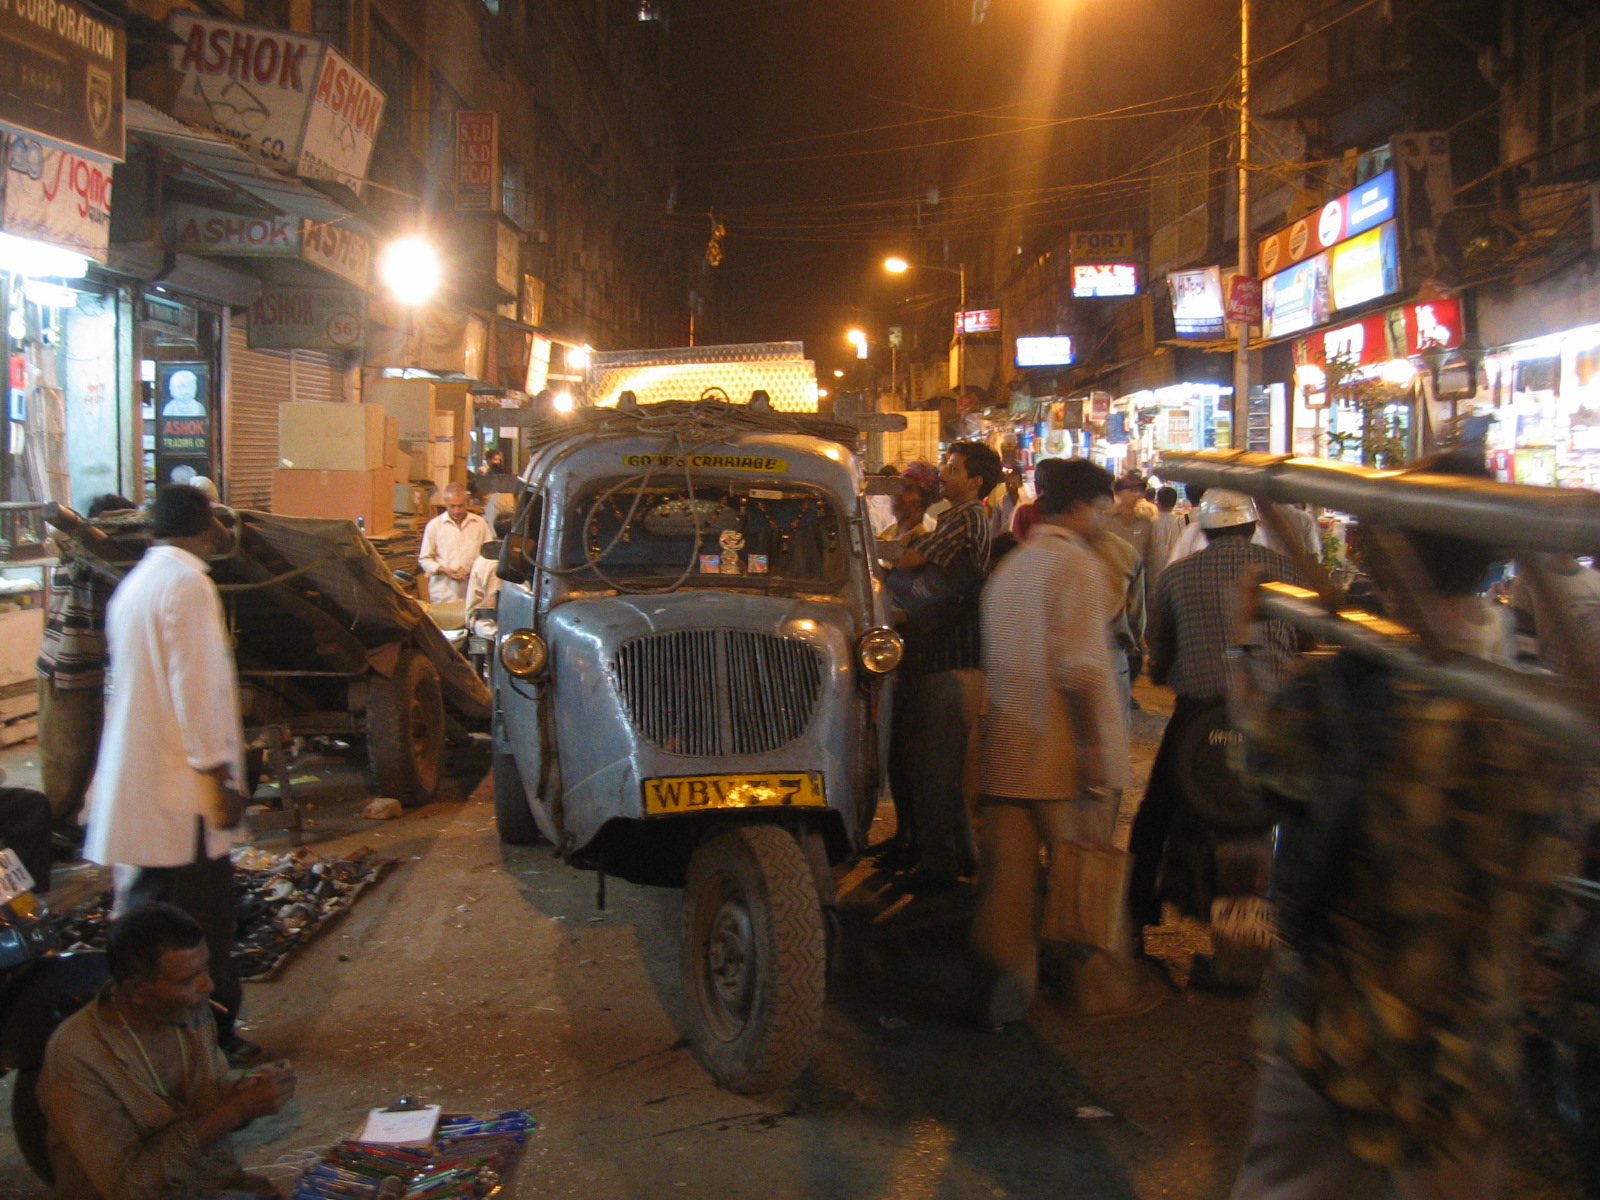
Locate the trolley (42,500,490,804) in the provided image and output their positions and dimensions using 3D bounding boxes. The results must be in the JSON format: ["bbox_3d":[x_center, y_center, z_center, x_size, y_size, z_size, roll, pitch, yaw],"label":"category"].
[{"bbox_3d":[-3.298,0.452,8.531,1.246,1.485,3.765,-9,-10,2],"label":"trolley"}]

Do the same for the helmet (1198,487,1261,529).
[{"bbox_3d":[1.896,-0.402,5.580,0.254,0.206,0.367,-1,-4,15],"label":"helmet"}]
